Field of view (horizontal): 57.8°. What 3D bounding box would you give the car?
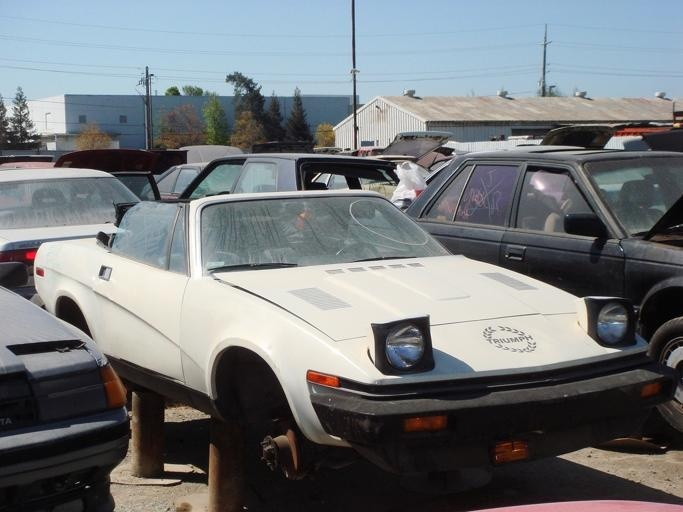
[{"bbox_3d":[-0.332,0.250,4.257,2.265,1.569,3.985,-7,13,-39],"label":"car"}]
